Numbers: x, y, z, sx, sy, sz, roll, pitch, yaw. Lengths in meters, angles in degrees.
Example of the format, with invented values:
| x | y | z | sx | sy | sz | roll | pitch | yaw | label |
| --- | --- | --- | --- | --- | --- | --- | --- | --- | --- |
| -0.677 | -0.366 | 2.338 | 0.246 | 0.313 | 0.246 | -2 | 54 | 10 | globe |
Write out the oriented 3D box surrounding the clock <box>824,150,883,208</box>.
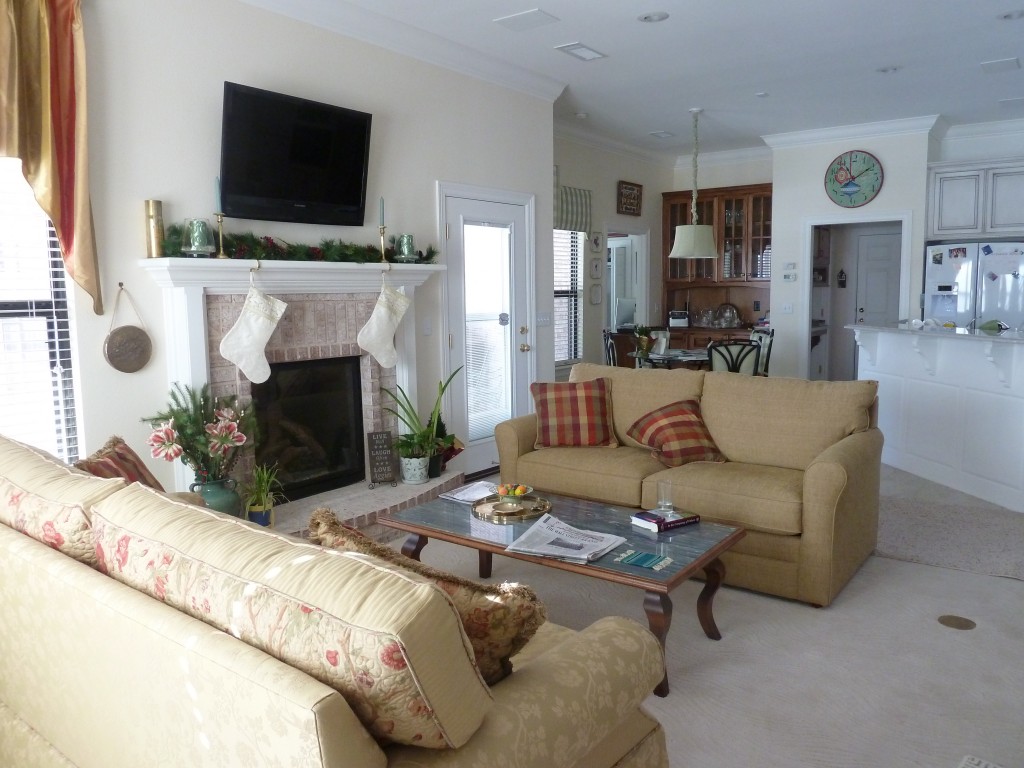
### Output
| x | y | z | sx | sy | sz | roll | pitch | yaw | label |
| --- | --- | --- | --- | --- | --- | --- | --- | --- | --- |
| 3.633 | -2.169 | 7.783 | 0.577 | 0.664 | 0.079 | 7 | 8 | 44 | clock |

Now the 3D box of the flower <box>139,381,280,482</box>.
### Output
| x | y | z | sx | sy | sz | roll | pitch | yaw | label |
| --- | --- | --- | --- | --- | --- | --- | --- | --- | --- |
| -1.597 | 0.251 | 3.971 | 0.504 | 0.543 | 0.527 | -2 | 1 | 7 | flower |

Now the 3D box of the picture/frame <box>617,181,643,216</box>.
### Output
| x | y | z | sx | sy | sz | roll | pitch | yaw | label |
| --- | --- | --- | --- | --- | --- | --- | --- | --- | --- |
| 1.382 | -2.216 | 8.764 | 0.032 | 0.343 | 0.434 | 4 | 8 | 36 | picture/frame |

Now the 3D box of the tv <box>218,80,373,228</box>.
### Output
| x | y | z | sx | sy | sz | roll | pitch | yaw | label |
| --- | --- | --- | --- | --- | --- | --- | --- | --- | --- |
| -1.334 | -1.384 | 4.426 | 0.136 | 0.785 | 0.996 | 12 | 11 | 41 | tv |

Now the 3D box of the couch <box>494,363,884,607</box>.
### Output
| x | y | z | sx | sy | sz | roll | pitch | yaw | label |
| --- | --- | --- | --- | --- | --- | --- | --- | --- | --- |
| 1.015 | 0.490 | 4.434 | 2.106 | 1.115 | 1.013 | 5 | 7 | 42 | couch |

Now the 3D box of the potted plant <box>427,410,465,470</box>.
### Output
| x | y | z | sx | sy | sz | roll | pitch | yaw | label |
| --- | --- | --- | --- | --- | --- | --- | --- | --- | --- |
| -0.499 | 0.382 | 5.092 | 0.204 | 0.365 | 0.292 | 3 | 3 | 21 | potted plant |

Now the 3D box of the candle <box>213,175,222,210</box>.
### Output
| x | y | z | sx | sy | sz | roll | pitch | yaw | label |
| --- | --- | --- | --- | --- | --- | --- | --- | --- | --- |
| -1.657 | -1.078 | 4.174 | 0.024 | 0.192 | 0.099 | 1 | 12 | -45 | candle |

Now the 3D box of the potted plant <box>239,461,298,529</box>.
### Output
| x | y | z | sx | sy | sz | roll | pitch | yaw | label |
| --- | --- | --- | --- | --- | --- | --- | --- | --- | --- |
| -1.362 | 0.637 | 4.096 | 0.156 | 0.299 | 0.187 | -3 | -3 | -42 | potted plant |

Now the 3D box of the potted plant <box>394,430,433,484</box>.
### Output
| x | y | z | sx | sy | sz | roll | pitch | yaw | label |
| --- | --- | --- | --- | --- | --- | --- | --- | --- | --- |
| -0.695 | 0.512 | 4.994 | 0.288 | 0.314 | 0.244 | 2 | 2 | 31 | potted plant |
